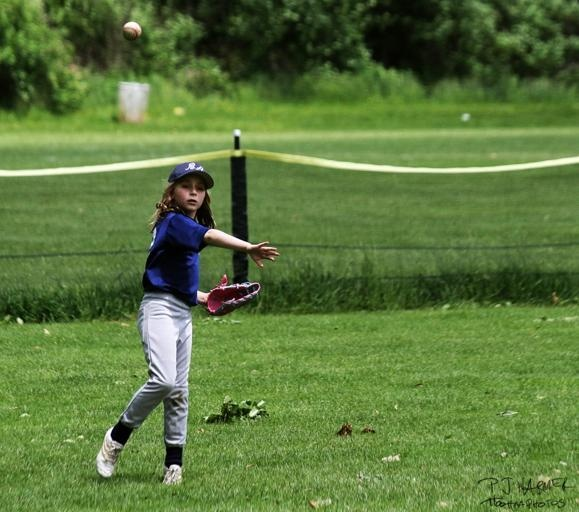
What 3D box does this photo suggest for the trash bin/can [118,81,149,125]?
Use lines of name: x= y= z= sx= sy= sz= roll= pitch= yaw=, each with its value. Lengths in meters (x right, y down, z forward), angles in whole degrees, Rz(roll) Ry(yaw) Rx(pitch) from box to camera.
trash bin/can: x=-2.409 y=-2.366 z=20.645 sx=0.549 sy=0.609 sz=0.551 roll=2 pitch=0 yaw=1

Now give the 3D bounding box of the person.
person: x=-0.850 y=0.465 z=9.657 sx=1.122 sy=2.246 sz=0.784 roll=-4 pitch=9 yaw=-24

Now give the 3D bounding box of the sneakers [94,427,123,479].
sneakers: x=-1.301 y=1.397 z=9.677 sx=0.186 sy=0.363 sz=0.249 roll=-1 pitch=9 yaw=-11

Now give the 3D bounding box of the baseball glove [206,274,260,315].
baseball glove: x=-0.375 y=0.281 z=9.909 sx=0.383 sy=0.247 sz=0.141 roll=-26 pitch=-27 yaw=26

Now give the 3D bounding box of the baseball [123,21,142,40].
baseball: x=-1.485 y=-2.168 z=12.797 sx=0.178 sy=0.180 sz=0.178 roll=3 pitch=-7 yaw=-16

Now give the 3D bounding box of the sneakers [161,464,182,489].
sneakers: x=-0.827 y=1.552 z=9.602 sx=0.170 sy=0.225 sz=0.127 roll=4 pitch=-1 yaw=0
